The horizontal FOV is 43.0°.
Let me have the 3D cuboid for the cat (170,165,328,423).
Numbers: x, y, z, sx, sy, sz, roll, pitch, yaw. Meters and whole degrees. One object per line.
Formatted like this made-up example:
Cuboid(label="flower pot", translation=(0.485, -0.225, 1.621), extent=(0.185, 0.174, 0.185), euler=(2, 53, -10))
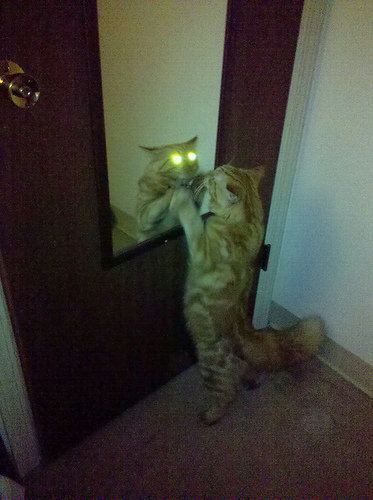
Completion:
Cuboid(label="cat", translation=(0.247, 0.186, 1.910), extent=(0.662, 1.033, 0.357), euler=(-1, 20, -4))
